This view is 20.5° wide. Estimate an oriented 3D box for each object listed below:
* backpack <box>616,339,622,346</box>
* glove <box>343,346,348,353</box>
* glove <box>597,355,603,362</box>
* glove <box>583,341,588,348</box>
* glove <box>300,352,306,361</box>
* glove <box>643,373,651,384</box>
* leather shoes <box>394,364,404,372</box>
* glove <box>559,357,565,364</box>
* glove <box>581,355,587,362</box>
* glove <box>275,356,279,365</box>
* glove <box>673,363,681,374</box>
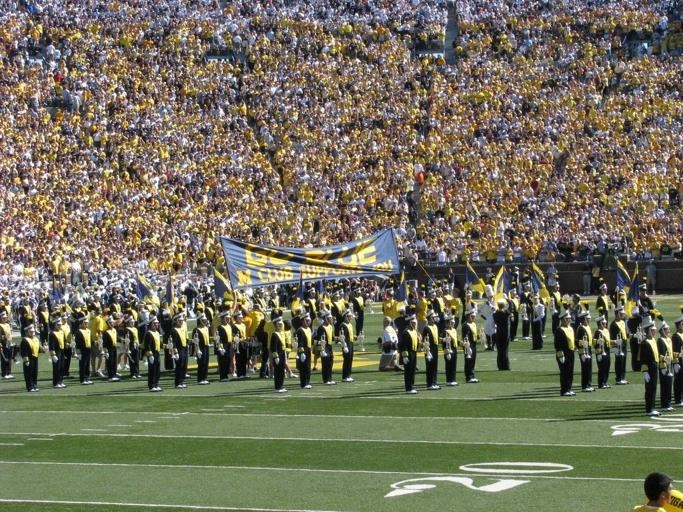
[{"bbox_3d":[9.089,2.780,62.142,0.262,0.245,0.127,-3,-3,5],"label":"backpack"},{"bbox_3d":[0.102,3.101,64.005,0.185,0.225,0.249,-2,-4,-1],"label":"glove"},{"bbox_3d":[8.464,3.319,62.237,0.200,0.255,0.026,14,23,32],"label":"glove"},{"bbox_3d":[7.896,2.850,61.574,0.213,0.275,0.040,0,3,-12],"label":"glove"},{"bbox_3d":[-1.347,3.306,62.977,0.184,0.286,0.203,-2,-3,-2],"label":"glove"},{"bbox_3d":[9.519,3.772,59.010,0.207,0.302,0.087,0,0,19],"label":"glove"},{"bbox_3d":[1.930,3.871,65.959,0.276,0.242,0.283,-2,-4,-6],"label":"leather shoes"},{"bbox_3d":[7.084,3.321,61.128,0.204,0.213,0.029,5,7,12],"label":"glove"},{"bbox_3d":[7.916,3.279,61.615,0.243,0.240,0.103,-1,-4,-19],"label":"glove"},{"bbox_3d":[-2.207,3.416,62.750,0.180,0.263,0.173,-2,-3,-4],"label":"glove"},{"bbox_3d":[10.536,3.502,59.526,0.196,0.285,0.100,3,8,20],"label":"glove"}]
